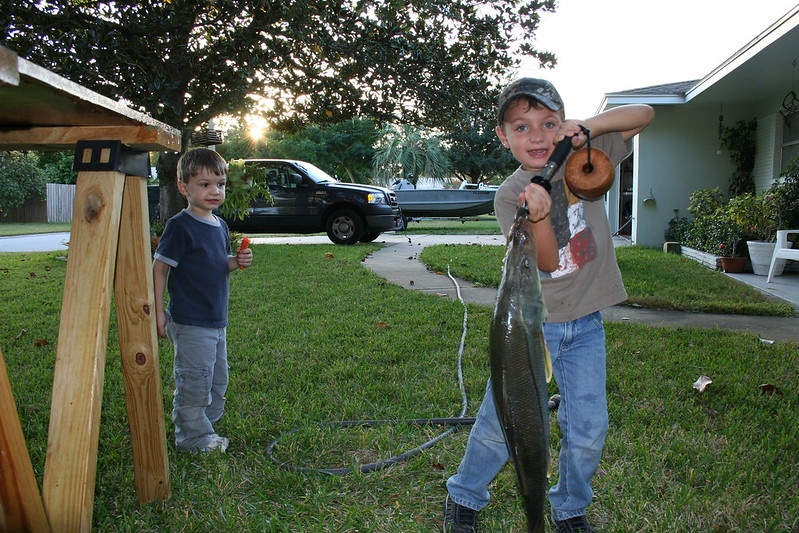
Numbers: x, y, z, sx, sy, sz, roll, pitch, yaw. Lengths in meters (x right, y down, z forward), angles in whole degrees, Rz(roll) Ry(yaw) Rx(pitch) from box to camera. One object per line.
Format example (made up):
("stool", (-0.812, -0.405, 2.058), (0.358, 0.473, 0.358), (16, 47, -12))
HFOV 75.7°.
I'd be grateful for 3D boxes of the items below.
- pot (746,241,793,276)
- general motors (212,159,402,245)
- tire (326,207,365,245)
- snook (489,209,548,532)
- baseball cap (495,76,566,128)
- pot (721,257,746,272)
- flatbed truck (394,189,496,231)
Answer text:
("pot", (6.286, -0.130, 8.856), (0.577, 0.457, 0.560), (1, -2, 0))
("general motors", (-2.183, -1.556, 12.568), (3.963, 1.649, 1.896), (-1, 4, 7))
("tire", (-1.274, -0.985, 11.987), (0.625, 0.644, 0.225), (-22, 9, 9))
("snook", (0.490, 0.428, 2.067), (0.256, 1.293, 0.200), (6, 12, 27))
("baseball cap", (0.620, -0.789, 2.443), (0.303, 0.210, 0.240), (4, 12, 16))
("pot", (5.793, -0.040, 8.955), (0.294, 0.169, 0.302), (0, 2, 0))
("flatbed truck", (0.904, -2.151, 19.740), (5.923, 1.515, 1.537), (-1, 5, -2))
